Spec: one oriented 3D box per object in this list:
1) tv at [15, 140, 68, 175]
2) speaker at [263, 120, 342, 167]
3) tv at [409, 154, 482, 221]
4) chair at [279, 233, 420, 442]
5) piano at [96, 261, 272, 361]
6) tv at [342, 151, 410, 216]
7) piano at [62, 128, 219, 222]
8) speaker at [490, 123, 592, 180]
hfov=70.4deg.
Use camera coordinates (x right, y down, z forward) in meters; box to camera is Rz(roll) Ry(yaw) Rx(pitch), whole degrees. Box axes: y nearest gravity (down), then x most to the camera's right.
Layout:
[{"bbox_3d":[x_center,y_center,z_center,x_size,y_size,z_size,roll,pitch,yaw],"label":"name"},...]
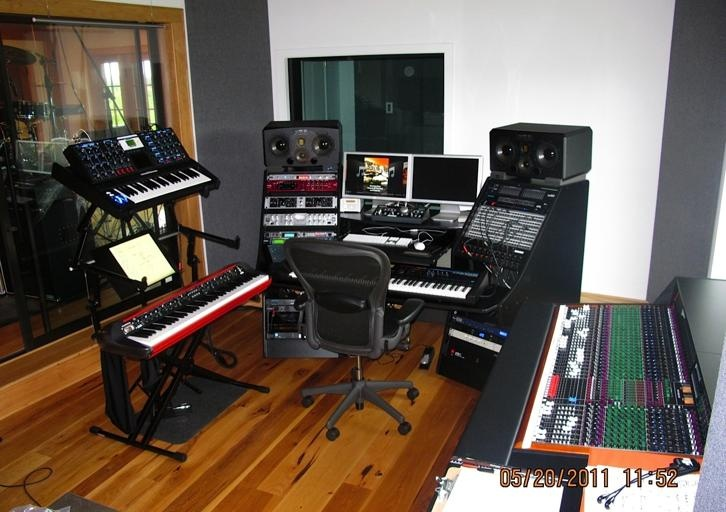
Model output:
[{"bbox_3d":[-2.495,-0.780,4.005,0.039,0.271,0.403,11,23,28],"label":"tv"},{"bbox_3d":[-0.537,-0.964,4.452,0.623,0.390,0.336,-2,21,-7],"label":"speaker"},{"bbox_3d":[0.698,-0.592,4.325,0.625,0.526,0.169,7,19,25],"label":"tv"},{"bbox_3d":[-0.039,0.501,3.526,0.863,1.309,0.797,4,14,21],"label":"chair"},{"bbox_3d":[-1.164,0.363,3.453,0.420,0.357,1.096,13,23,31],"label":"piano"},{"bbox_3d":[0.119,-0.632,4.469,0.536,0.484,0.203,4,12,12],"label":"tv"},{"bbox_3d":[-1.624,-0.653,3.804,0.757,0.358,0.917,29,33,19],"label":"piano"},{"bbox_3d":[1.279,-0.755,3.696,0.555,0.357,0.518,18,26,40],"label":"speaker"}]
